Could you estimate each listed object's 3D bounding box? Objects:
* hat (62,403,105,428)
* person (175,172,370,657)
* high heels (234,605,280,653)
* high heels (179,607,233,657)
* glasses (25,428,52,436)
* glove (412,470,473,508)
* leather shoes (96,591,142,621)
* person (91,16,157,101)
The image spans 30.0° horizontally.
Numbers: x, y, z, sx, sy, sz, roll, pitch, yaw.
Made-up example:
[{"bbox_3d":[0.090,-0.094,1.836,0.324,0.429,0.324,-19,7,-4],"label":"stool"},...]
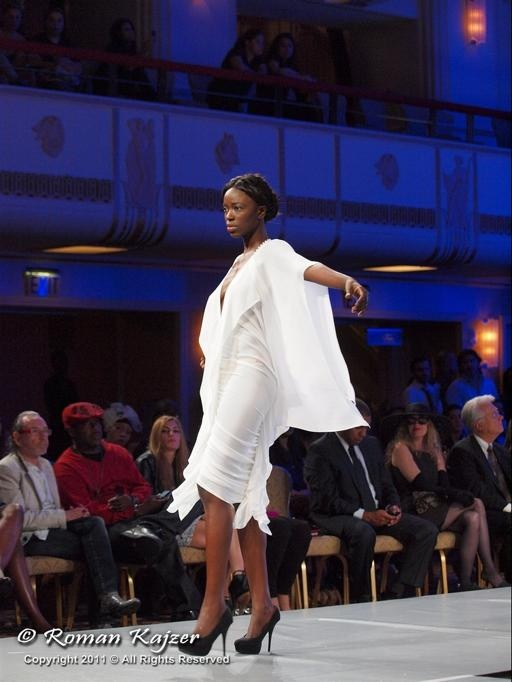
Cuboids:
[{"bbox_3d":[-0.948,0.408,5.325,0.200,0.088,0.145,-27,-16,35],"label":"hat"},{"bbox_3d":[0.034,0.201,3.171,0.666,1.653,0.486,0,-10,0],"label":"person"},{"bbox_3d":[0.005,0.965,3.196,0.142,0.154,0.162,0,-9,-2],"label":"high heels"},{"bbox_3d":[-0.147,0.918,2.984,0.239,0.142,0.105,2,-8,-14],"label":"high heels"},{"bbox_3d":[-1.151,0.484,5.078,0.054,0.039,0.147,-4,-10,23],"label":"glasses"},{"bbox_3d":[1.224,0.970,6.213,0.348,0.199,0.146,6,-12,15],"label":"glove"},{"bbox_3d":[-0.673,1.299,4.696,0.257,0.150,0.096,-22,-24,24],"label":"leather shoes"},{"bbox_3d":[-1.027,-2.291,7.675,0.404,0.814,0.419,-2,-10,7],"label":"person"}]
